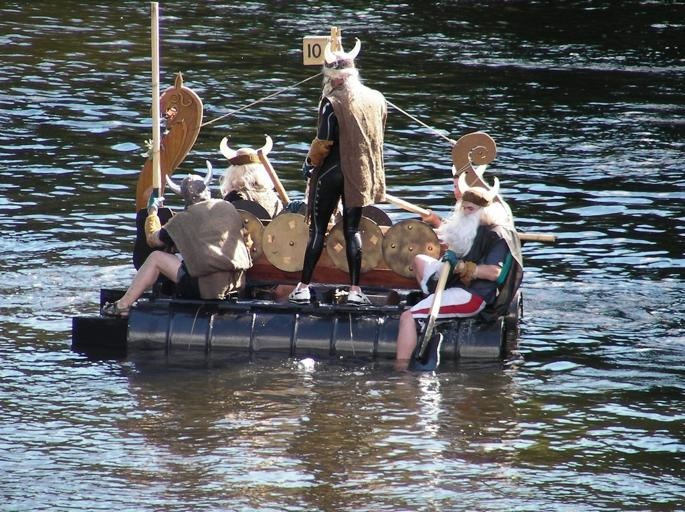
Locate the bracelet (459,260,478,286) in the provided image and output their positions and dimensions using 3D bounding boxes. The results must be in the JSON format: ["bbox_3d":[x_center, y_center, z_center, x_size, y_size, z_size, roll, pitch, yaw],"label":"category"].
[{"bbox_3d":[1.585,0.196,21.120,0.277,0.262,0.127,7,-6,7],"label":"bracelet"}]

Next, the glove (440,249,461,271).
[{"bbox_3d":[1.385,0.033,21.254,0.242,0.245,0.104,6,-5,6],"label":"glove"}]

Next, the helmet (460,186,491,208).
[{"bbox_3d":[1.715,-0.780,21.321,0.329,0.143,0.282,10,1,-5],"label":"helmet"}]

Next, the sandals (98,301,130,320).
[{"bbox_3d":[-3.014,0.737,21.592,0.508,0.159,0.178,7,2,21],"label":"sandals"}]

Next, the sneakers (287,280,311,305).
[{"bbox_3d":[-0.573,0.504,21.481,0.215,0.188,0.369,2,4,-23],"label":"sneakers"}]

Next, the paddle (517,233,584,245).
[{"bbox_3d":[3.016,-0.255,24.106,1.542,0.141,0.160,4,-30,-47],"label":"paddle"}]

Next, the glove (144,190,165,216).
[{"bbox_3d":[-2.520,-0.728,21.786,0.137,0.295,0.256,17,11,21],"label":"glove"}]

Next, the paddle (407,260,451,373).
[{"bbox_3d":[1.147,0.779,21.129,0.291,1.386,0.563,12,13,43],"label":"paddle"}]

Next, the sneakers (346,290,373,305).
[{"bbox_3d":[0.202,0.540,21.491,0.349,0.188,0.214,1,8,-11],"label":"sneakers"}]
